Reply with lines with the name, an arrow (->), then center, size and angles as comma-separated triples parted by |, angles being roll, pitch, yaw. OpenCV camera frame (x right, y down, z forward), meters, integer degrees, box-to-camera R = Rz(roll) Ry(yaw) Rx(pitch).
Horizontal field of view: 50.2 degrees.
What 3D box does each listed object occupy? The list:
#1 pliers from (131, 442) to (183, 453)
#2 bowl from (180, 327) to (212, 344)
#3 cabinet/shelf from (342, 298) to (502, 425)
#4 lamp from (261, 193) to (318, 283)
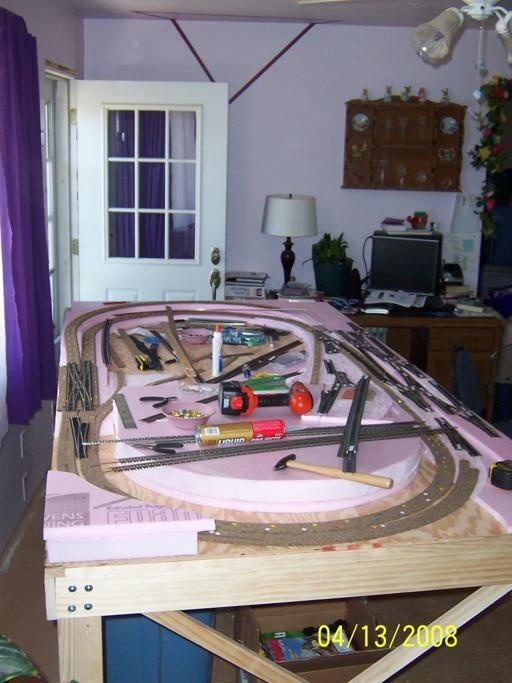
pliers -> -0.229, 0.243, 1.271 | 0.073, 0.010, 0.040 | 1, 7, -3
bowl -> -0.266, -0.030, 2.405 | 0.092, 0.031, 0.086 | -2, 20, 1
cabinet/shelf -> 0.875, 0.081, 2.780 | 0.814, 0.573, 0.262 | 1, 6, 3
lamp -> 0.237, -0.780, 4.128 | 0.399, 0.669, 0.462 | 3, 14, 1
